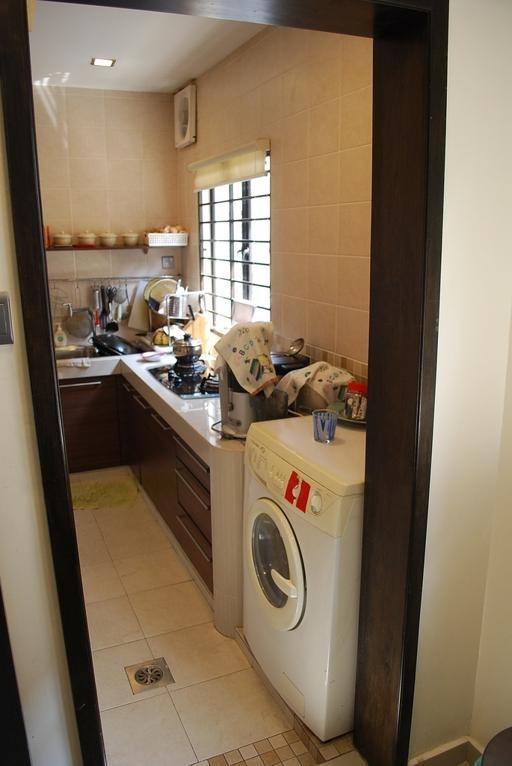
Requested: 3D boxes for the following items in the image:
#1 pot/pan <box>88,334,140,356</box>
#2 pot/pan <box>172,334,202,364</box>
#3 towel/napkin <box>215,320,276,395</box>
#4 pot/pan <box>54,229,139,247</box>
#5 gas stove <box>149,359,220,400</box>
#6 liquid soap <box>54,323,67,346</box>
[{"bbox_3d":[-1.011,-0.282,4.072,0.300,0.140,0.363,2,12,13],"label":"pot/pan"},{"bbox_3d":[-0.362,-0.172,2.872,0.101,0.141,0.151,0,6,-3],"label":"pot/pan"},{"bbox_3d":[-0.035,-0.080,2.013,0.227,0.263,0.163,-4,11,-13],"label":"towel/napkin"},{"bbox_3d":[-1.181,-1.077,4.175,0.690,0.113,0.228,-7,13,-25],"label":"pot/pan"},{"bbox_3d":[-0.381,-0.014,2.935,0.355,0.112,0.495,-4,16,-26],"label":"gas stove"},{"bbox_3d":[-1.453,-0.355,4.136,0.084,0.177,0.182,-5,12,-20],"label":"liquid soap"}]
